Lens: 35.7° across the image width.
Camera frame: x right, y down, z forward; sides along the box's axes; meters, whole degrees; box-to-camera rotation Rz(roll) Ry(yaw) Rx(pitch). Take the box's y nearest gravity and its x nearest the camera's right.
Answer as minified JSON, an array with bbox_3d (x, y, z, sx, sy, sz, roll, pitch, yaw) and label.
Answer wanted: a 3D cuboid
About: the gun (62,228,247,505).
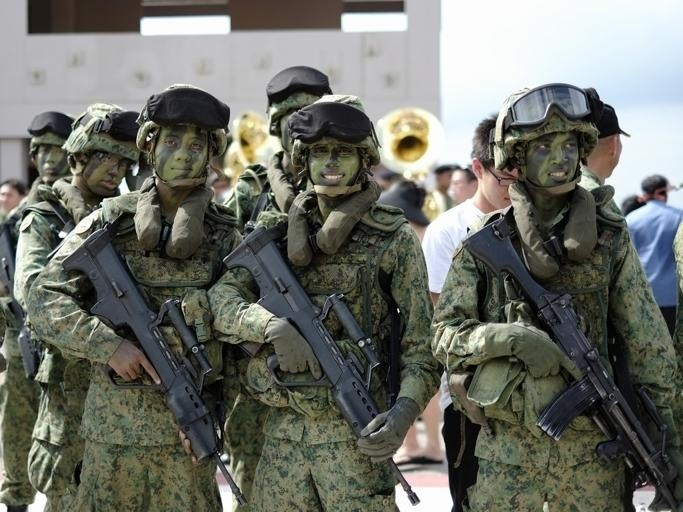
[{"bbox_3d":[-1.324,0.744,7.592,0.621,2.094,0.200,-23,-4,3],"label":"gun"}]

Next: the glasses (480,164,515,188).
[{"bbox_3d":[1.199,-0.612,8.095,0.052,0.178,0.173,-53,-31,8],"label":"glasses"}]

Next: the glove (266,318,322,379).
[{"bbox_3d":[-0.336,0.652,7.375,0.254,0.516,0.140,-31,5,2],"label":"glove"}]

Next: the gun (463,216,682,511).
[{"bbox_3d":[1.485,0.744,7.027,0.673,2.029,0.149,-25,-4,-5],"label":"gun"}]

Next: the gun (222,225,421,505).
[{"bbox_3d":[-0.120,0.699,7.390,0.710,2.128,0.197,-29,-13,14],"label":"gun"}]

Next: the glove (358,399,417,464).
[{"bbox_3d":[0.319,1.161,7.109,0.439,0.280,0.133,-40,-1,-25],"label":"glove"}]
